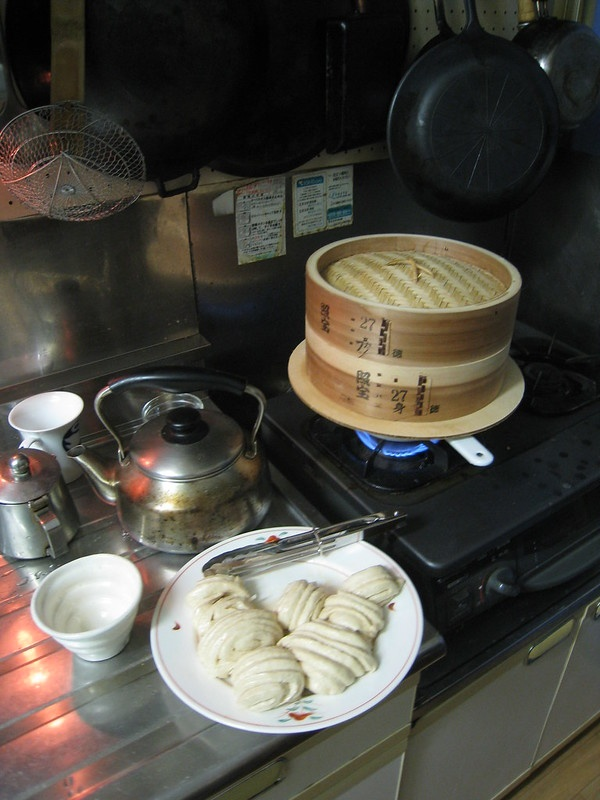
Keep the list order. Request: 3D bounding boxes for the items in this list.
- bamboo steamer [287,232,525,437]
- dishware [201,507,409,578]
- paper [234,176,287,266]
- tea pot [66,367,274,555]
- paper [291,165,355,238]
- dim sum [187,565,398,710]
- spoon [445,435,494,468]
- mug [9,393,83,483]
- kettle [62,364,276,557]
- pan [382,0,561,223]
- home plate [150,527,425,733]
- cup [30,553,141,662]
[{"bbox_3d":[0.123,-0.073,0.866,0.303,0.136,0.270,-3,35,-8],"label":"bamboo steamer"},{"bbox_3d":[0.007,0.179,0.844,0.212,0.042,0.029,-12,45,-13],"label":"dishware"},{"bbox_3d":[-0.068,-0.301,1.135,0.136,0.161,0.008,-21,53,-17],"label":"paper"},{"bbox_3d":[-0.126,0.046,0.906,0.303,0.237,0.186,-3,44,-7],"label":"tea pot"},{"bbox_3d":[0.043,-0.347,1.196,0.145,0.102,0.005,7,12,45],"label":"paper"},{"bbox_3d":[0.009,0.244,0.710,0.156,0.033,0.127,-10,31,-25],"label":"dim sum"},{"bbox_3d":[0.228,0.072,0.896,0.042,0.032,0.053,-12,29,-29],"label":"spoon"},{"bbox_3d":[-0.341,0.052,0.931,0.086,0.098,0.108,5,44,-1],"label":"mug"},{"bbox_3d":[-0.140,0.070,0.886,0.269,0.217,0.178,-5,27,6],"label":"kettle"},{"bbox_3d":[0.238,-0.379,0.960,0.228,0.321,0.048,-17,20,-7],"label":"pan"},{"bbox_3d":[-0.015,0.274,0.733,0.249,0.234,0.030,23,42,-22],"label":"home plate"},{"bbox_3d":[-0.221,0.233,0.744,0.113,0.069,0.107,-4,30,2],"label":"cup"}]
